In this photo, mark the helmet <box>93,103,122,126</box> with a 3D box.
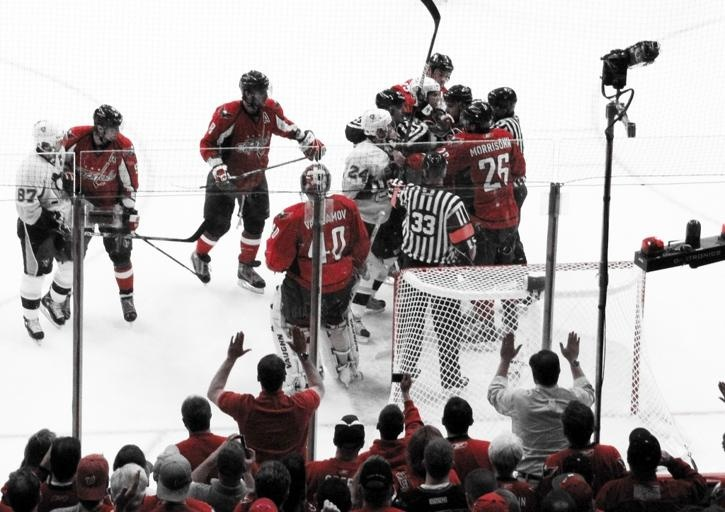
[{"bbox_3d":[-2.127,-1.164,9.568,0.211,0.191,0.164,-3,34,11],"label":"helmet"}]

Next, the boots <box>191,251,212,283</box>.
[{"bbox_3d":[-1.449,0.109,10.389,0.126,0.317,0.106,-17,18,26],"label":"boots"}]

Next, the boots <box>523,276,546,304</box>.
[{"bbox_3d":[1.342,0.242,8.918,0.174,0.316,0.201,3,9,12],"label":"boots"}]

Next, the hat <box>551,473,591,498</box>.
[{"bbox_3d":[1.296,1.416,7.146,0.171,0.061,0.122,20,29,31],"label":"hat"}]

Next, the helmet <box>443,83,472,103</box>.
[{"bbox_3d":[0.914,-1.505,10.881,0.198,0.184,0.175,28,33,29],"label":"helmet"}]

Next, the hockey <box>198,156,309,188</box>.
[{"bbox_3d":[-0.901,-0.707,9.688,0.117,0.062,1.755,2,-10,-44],"label":"hockey"}]

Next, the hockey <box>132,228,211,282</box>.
[{"bbox_3d":[-1.662,-0.008,10.130,0.447,0.221,0.521,12,-20,48],"label":"hockey"}]

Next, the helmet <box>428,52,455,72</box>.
[{"bbox_3d":[0.795,-2.005,11.843,0.189,0.210,0.225,-3,21,-32],"label":"helmet"}]

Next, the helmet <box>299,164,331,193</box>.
[{"bbox_3d":[-0.350,-0.592,8.682,0.178,0.235,0.234,2,17,1],"label":"helmet"}]

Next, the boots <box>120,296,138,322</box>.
[{"bbox_3d":[-2.004,0.450,9.879,0.124,0.232,0.079,-6,6,-16],"label":"boots"}]

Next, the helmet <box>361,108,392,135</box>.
[{"bbox_3d":[0.105,-1.168,10.099,0.246,0.191,0.187,-24,39,16],"label":"helmet"}]

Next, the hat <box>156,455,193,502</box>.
[{"bbox_3d":[-1.172,1.382,7.111,0.194,0.275,0.113,2,-27,-8],"label":"hat"}]

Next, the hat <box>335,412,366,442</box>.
[{"bbox_3d":[-0.089,1.139,7.579,0.154,0.157,0.192,3,21,1],"label":"hat"}]

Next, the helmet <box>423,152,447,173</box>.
[{"bbox_3d":[0.582,-0.761,9.241,0.130,0.175,0.174,-2,39,-7],"label":"helmet"}]

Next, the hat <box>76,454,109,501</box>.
[{"bbox_3d":[-1.694,1.391,7.195,0.171,0.272,0.108,-1,-23,-9],"label":"hat"}]

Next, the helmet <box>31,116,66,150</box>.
[{"bbox_3d":[-2.581,-1.000,9.421,0.253,0.254,0.192,-11,27,-19],"label":"helmet"}]

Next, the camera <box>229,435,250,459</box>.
[{"bbox_3d":[-0.790,1.247,7.447,0.140,0.162,0.325,1,7,-6],"label":"camera"}]

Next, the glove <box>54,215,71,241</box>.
[{"bbox_3d":[-2.374,-0.236,9.092,0.119,0.227,0.099,13,29,18],"label":"glove"}]

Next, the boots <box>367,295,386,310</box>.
[{"bbox_3d":[0.119,0.424,10.337,0.180,0.080,0.083,-2,30,-23],"label":"boots"}]

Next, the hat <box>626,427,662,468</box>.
[{"bbox_3d":[1.824,1.256,7.454,0.169,0.129,0.248,0,42,10],"label":"hat"}]
